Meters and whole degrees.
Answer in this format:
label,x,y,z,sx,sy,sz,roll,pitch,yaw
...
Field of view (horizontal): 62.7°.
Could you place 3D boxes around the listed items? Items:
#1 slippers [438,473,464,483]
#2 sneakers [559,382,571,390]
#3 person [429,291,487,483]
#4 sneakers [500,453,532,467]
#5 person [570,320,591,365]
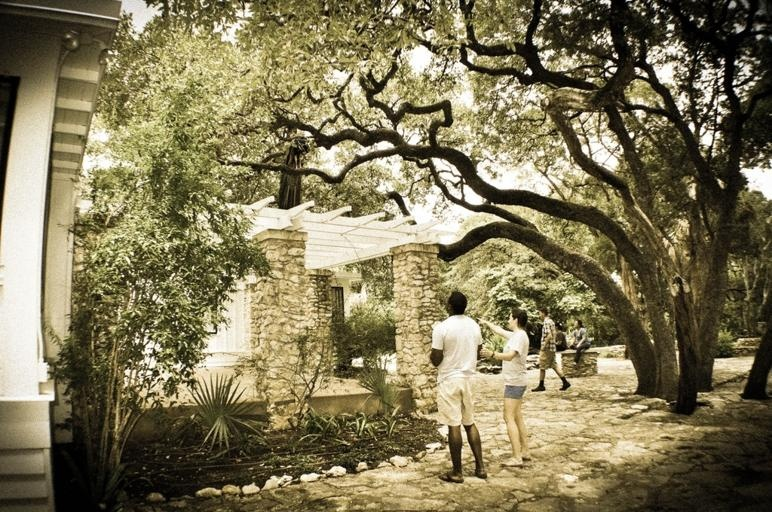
label,x,y,z,sx,sy,sz,roll,pitch,yaw
slippers,1.080,3.549,10.223,0.276,0.116,0.154,-6,-15,32
sneakers,4.771,3.446,16.887,0.332,0.154,0.114,-30,-6,-7
person,1.206,2.089,10.351,0.872,3.002,0.855,1,7,14
sneakers,2.182,3.440,10.809,0.619,0.268,0.191,2,-6,3
person,6.179,2.638,20.113,0.456,1.264,1.186,1,7,14
